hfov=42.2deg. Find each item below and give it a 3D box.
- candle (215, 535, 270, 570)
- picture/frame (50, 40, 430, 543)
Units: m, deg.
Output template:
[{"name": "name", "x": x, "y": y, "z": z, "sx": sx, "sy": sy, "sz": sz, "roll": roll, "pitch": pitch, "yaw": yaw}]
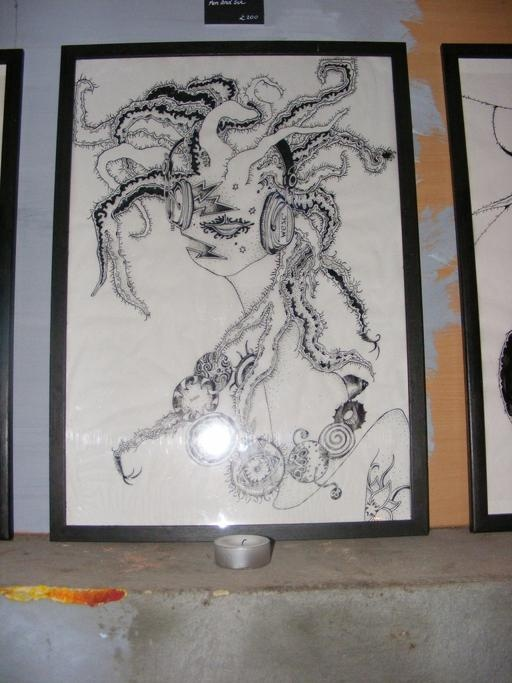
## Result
[{"name": "candle", "x": -0.022, "y": 0.336, "z": 1.083, "sx": 0.092, "sy": 0.043, "sz": 0.080, "roll": 1, "pitch": 15, "yaw": 4}, {"name": "picture/frame", "x": -0.035, "y": -0.111, "z": 1.224, "sx": 0.675, "sy": 0.865, "sz": 0.366, "roll": -1, "pitch": 16, "yaw": -1}]
